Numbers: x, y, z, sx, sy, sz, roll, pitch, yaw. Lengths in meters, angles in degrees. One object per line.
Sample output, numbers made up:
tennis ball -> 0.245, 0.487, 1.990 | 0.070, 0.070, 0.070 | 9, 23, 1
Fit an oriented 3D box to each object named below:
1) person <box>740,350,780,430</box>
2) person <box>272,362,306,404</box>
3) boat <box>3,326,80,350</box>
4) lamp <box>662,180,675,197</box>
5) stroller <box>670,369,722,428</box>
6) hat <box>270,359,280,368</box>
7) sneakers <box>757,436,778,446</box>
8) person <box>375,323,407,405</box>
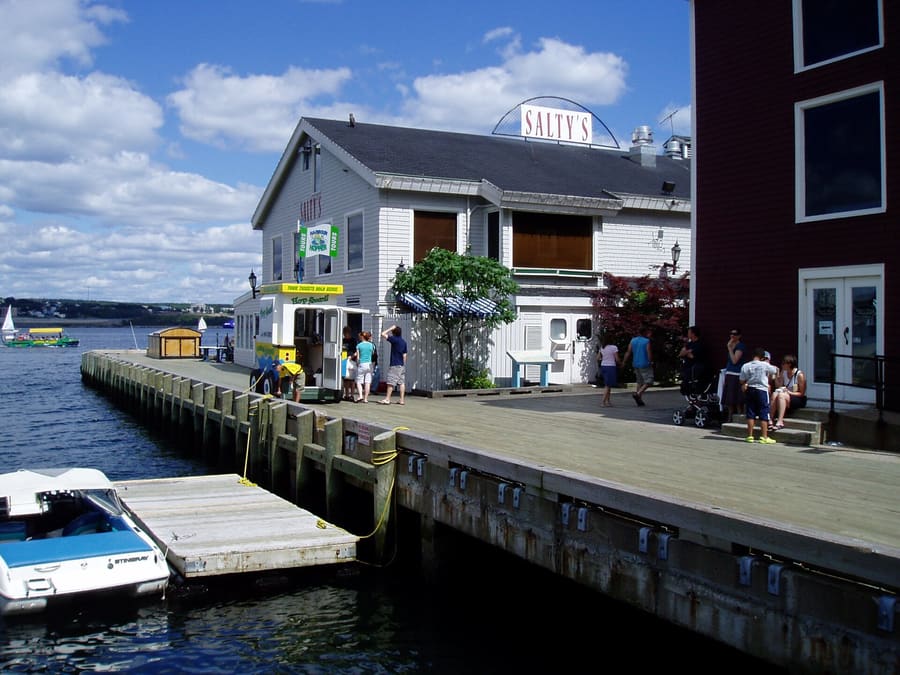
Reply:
person -> 5.474, 0.928, 15.394 | 0.566, 1.501, 1.172 | 1, 12, 19
person -> -3.895, 1.058, 21.575 | 0.423, 0.829, 1.460 | -2, 18, -24
boat -> -64.205, -0.111, 135.818 | 11.024, 3.881, 2.667 | -3, 6, -23
lamp -> 7.821, -5.309, 31.093 | 0.360, 0.563, 0.717 | -9, 8, 17
stroller -> 5.067, 1.284, 17.299 | 0.751, 1.216, 0.882 | 3, -8, -33
hat -> -4.470, 0.674, 22.244 | 0.224, 0.304, 0.279 | 0, 13, -15
sneakers -> 5.503, 1.758, 15.027 | 0.289, 0.156, 0.122 | -2, 4, -15
person -> -1.377, 0.703, 21.479 | 0.581, 2.122, 1.520 | -4, 11, -5
